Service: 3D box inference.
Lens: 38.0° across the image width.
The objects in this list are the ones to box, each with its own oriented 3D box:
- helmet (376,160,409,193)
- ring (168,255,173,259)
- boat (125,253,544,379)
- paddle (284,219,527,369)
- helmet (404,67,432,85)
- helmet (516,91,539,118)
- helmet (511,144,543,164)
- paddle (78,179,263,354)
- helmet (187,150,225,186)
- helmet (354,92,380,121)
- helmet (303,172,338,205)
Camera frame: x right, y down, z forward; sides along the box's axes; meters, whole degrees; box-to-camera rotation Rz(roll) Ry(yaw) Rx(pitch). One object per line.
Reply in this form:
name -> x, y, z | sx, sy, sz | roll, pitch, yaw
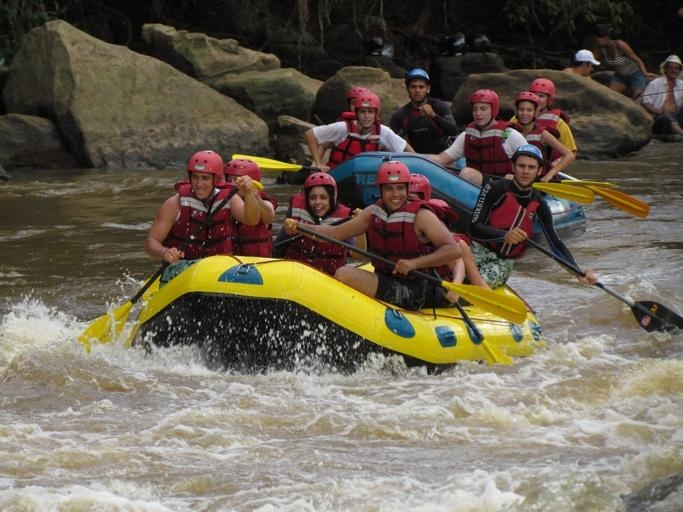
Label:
helmet -> 0.471, -0.738, 9.229 | 0.261, 0.235, 0.282 | 3, -22, -1
ring -> -1.591, 0.015, 9.134 | 0.029, 0.009, 0.043 | 1, 19, 10
boat -> -0.062, 0.640, 9.235 | 2.376, 0.439, 1.476 | 9, -2, -41
paddle -> 0.624, 0.226, 9.438 | 3.165, 0.807, 0.129 | 18, -9, -6
helmet -> 0.978, -2.335, 12.884 | 0.299, 0.154, 0.248 | -6, 15, -14
helmet -> 2.367, -1.963, 12.510 | 0.288, 0.268, 0.337 | 1, -3, 12
helmet -> 1.914, -1.055, 10.153 | 0.230, 0.099, 0.281 | 8, -18, 7
paddle -> -1.712, 0.164, 9.894 | 3.115, 0.429, 0.210 | -38, 20, -7
helmet -> -1.322, -0.834, 9.572 | 0.355, 0.324, 0.416 | 9, 17, 14
helmet -> 0.296, -1.841, 11.985 | 0.296, 0.233, 0.288 | 2, 7, -2
helmet -> -0.212, -0.671, 9.828 | 0.302, 0.313, 0.296 | -1, 31, -3
